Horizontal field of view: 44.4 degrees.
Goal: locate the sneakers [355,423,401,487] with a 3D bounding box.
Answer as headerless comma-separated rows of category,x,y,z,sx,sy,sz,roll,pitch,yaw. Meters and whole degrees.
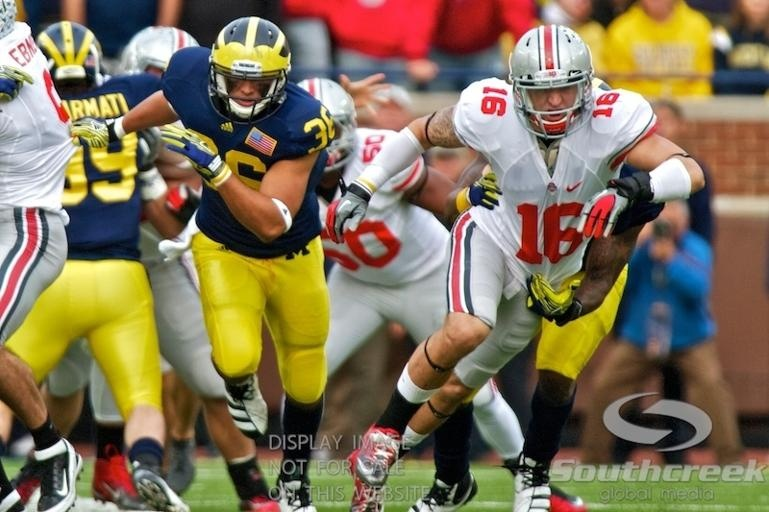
sneakers,-0.045,1.010,4.784,0.169,0.226,0.334,36,21,-22

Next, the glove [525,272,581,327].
glove,0.840,0.226,4.735,0.254,0.263,0.115,5,-22,-30

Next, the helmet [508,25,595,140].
helmet,0.796,-0.887,4.653,0.387,0.468,0.515,-2,39,10

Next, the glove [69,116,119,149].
glove,-1.473,-0.630,4.810,0.214,0.146,0.085,-17,-12,3

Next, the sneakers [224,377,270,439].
sneakers,-0.718,0.762,4.920,0.173,0.351,0.133,-8,20,1

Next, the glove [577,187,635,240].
glove,1.029,-0.201,4.475,0.247,0.230,0.168,4,16,20

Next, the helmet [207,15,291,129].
helmet,-0.658,-0.938,4.625,0.358,0.396,0.507,6,53,-2

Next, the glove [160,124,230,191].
glove,-0.928,-0.492,4.628,0.378,0.245,0.149,39,-18,-1

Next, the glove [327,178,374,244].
glove,-0.184,-0.230,4.859,0.180,0.321,0.136,15,-15,18

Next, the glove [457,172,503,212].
glove,0.500,-0.311,4.976,0.205,0.206,0.064,6,48,-40
